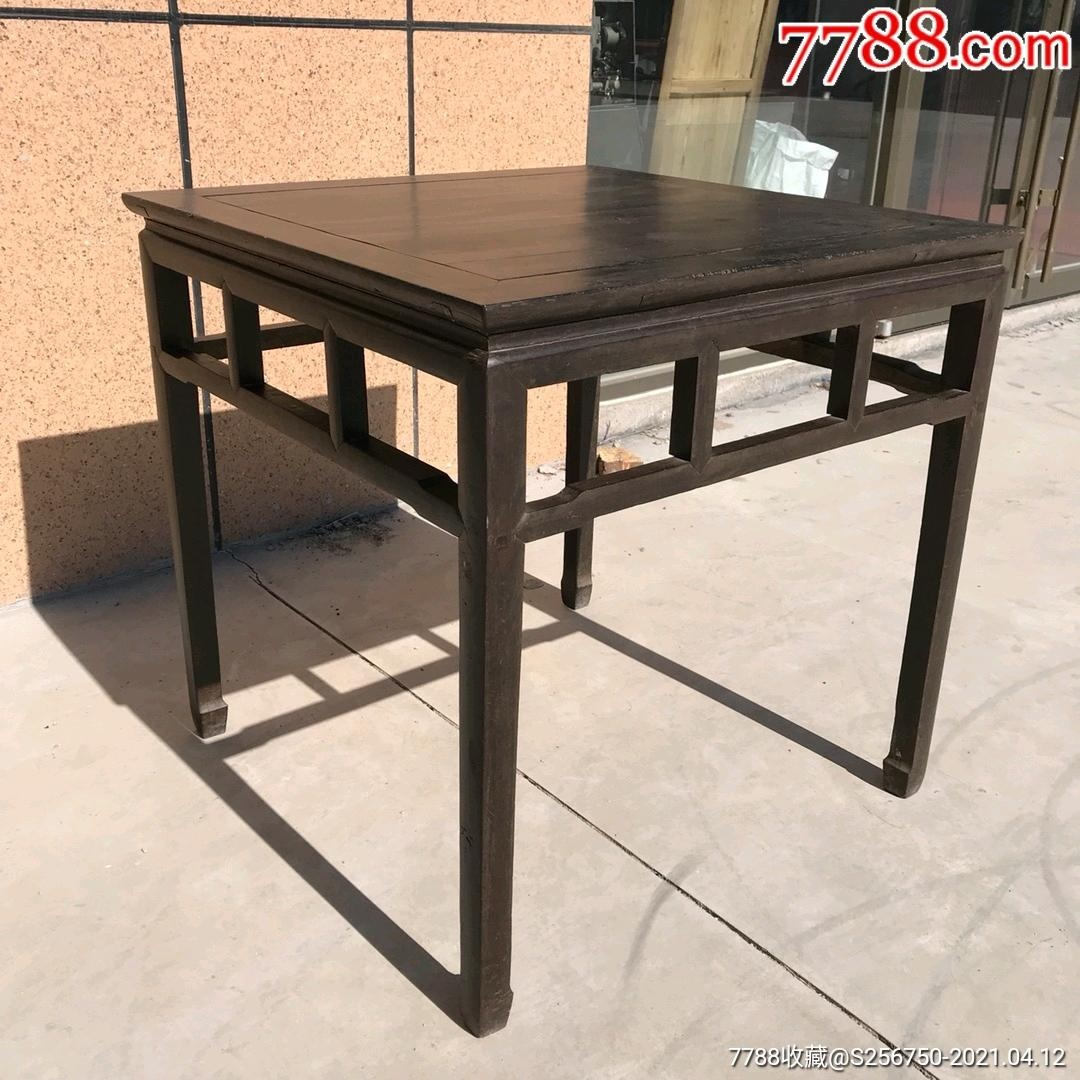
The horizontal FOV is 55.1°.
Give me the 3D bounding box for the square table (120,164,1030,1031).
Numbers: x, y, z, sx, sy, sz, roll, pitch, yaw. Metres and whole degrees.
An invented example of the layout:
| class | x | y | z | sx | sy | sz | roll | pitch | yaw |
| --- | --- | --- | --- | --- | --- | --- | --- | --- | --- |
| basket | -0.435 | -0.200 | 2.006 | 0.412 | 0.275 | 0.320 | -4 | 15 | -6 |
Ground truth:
| class | x | y | z | sx | sy | sz | roll | pitch | yaw |
| --- | --- | --- | --- | --- | --- | --- | --- | --- | --- |
| square table | 0.011 | -0.044 | 1.425 | 0.861 | 0.809 | 0.910 | -19 | 35 | -33 |
